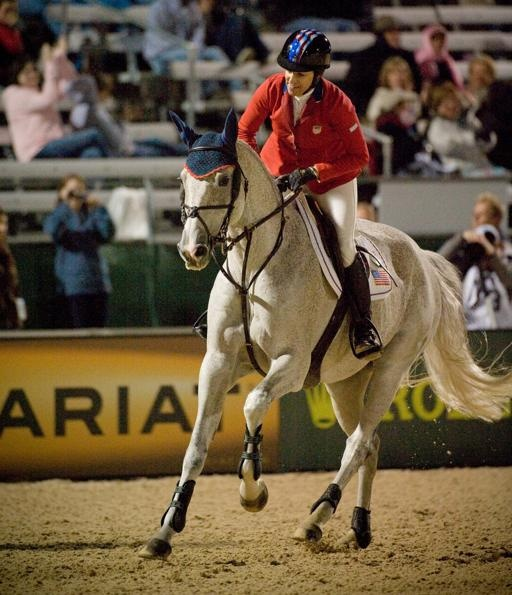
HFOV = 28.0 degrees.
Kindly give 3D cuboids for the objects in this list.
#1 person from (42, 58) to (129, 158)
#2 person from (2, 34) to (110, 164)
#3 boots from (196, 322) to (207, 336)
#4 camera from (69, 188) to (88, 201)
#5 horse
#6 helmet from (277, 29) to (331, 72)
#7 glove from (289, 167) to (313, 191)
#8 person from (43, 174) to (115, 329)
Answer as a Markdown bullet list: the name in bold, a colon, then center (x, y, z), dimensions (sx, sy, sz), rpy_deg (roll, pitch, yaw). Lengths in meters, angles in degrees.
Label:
- **person**: center (-1.598, -1.806, 9.992), dimensions (0.301, 1.207, 0.755), rpy_deg (-25, -6, 11)
- **person**: center (-1.876, -1.775, 9.215), dimensions (0.664, 1.171, 1.260), rpy_deg (2, 7, 10)
- **boots**: center (-0.352, 0.225, 6.878), dimensions (0.072, 0.071, 0.029), rpy_deg (5, 7, 13)
- **camera**: center (-1.521, -0.874, 8.768), dimensions (0.068, 0.071, 0.269), rpy_deg (13, -4, 29)
- **horse**: center (0.348, 0.283, 6.720), dimensions (0.783, 2.859, 2.727), rpy_deg (6, 9, 36)
- **helmet**: center (0.308, -1.531, 6.288), dimensions (0.366, 0.167, 0.261), rpy_deg (-24, 49, -29)
- **glove**: center (0.287, -0.721, 6.335), dimensions (0.167, 0.136, 0.090), rpy_deg (0, 7, 0)
- **person**: center (-1.477, -0.378, 8.730), dimensions (0.610, 1.285, 0.346), rpy_deg (-6, 10, -43)
